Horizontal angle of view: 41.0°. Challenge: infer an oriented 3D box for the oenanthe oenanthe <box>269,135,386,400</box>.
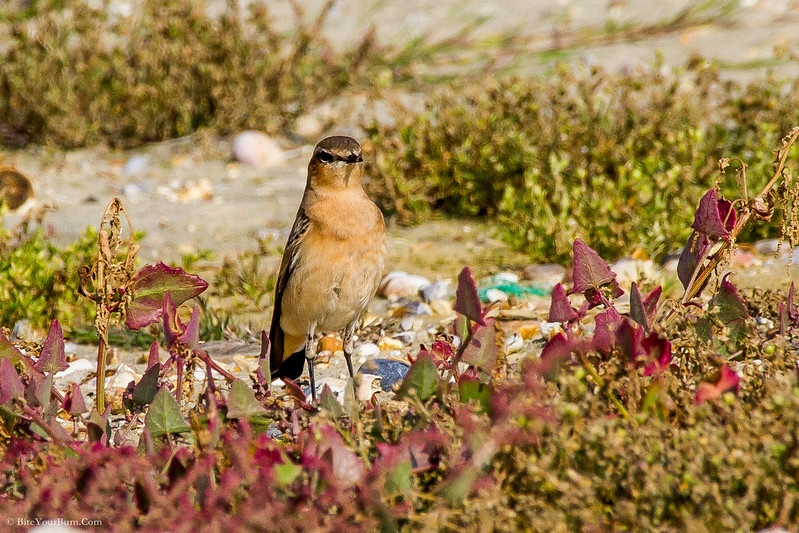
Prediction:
[{"bbox_3d":[-0.521,0.030,6.852,0.818,1.652,0.563,7,17,30],"label":"oenanthe oenanthe"}]
